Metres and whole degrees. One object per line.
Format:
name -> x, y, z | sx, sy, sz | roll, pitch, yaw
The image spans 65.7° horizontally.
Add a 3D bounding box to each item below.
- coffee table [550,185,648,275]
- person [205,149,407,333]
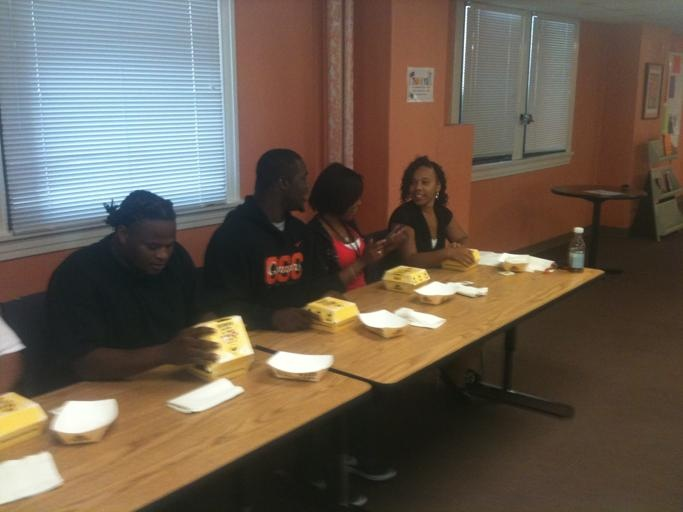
coffee table -> 3.023, -0.311, 6.583 | 1.194, 1.168, 1.184 | 5, 24, 17
person -> -0.162, -0.175, 3.081 | 0.951, 1.210, 0.799 | 2, 14, 4
